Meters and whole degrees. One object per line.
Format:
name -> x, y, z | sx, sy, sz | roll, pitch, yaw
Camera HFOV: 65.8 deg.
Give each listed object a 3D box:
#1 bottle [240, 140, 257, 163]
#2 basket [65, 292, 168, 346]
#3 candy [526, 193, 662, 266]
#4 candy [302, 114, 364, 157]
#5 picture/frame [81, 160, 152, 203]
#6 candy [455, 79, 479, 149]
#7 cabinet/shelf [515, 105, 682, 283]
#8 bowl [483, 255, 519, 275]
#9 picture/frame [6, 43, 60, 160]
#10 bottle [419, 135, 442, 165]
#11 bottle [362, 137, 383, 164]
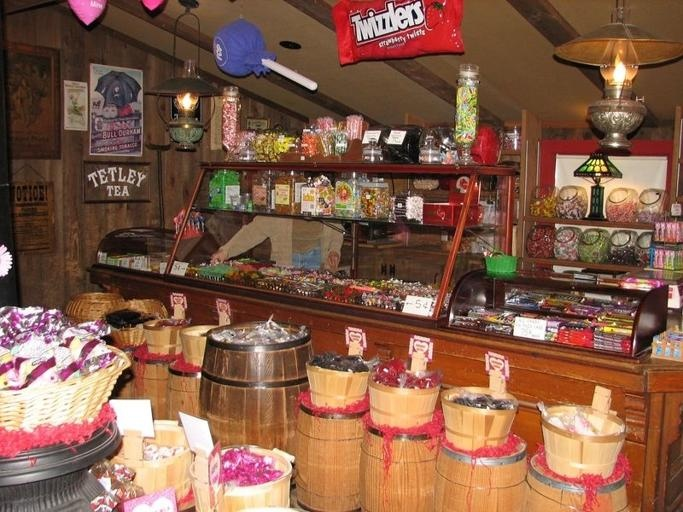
bottle -> -0.756, -0.839, 4.245 | 0.152, 0.152, 0.157 | 4, 6, 22
basket -> -1.933, 0.473, 4.459 | 0.775, 0.369, 0.753 | 6, 4, 22
candy -> 2.251, -0.126, 4.765 | 1.101, 0.516, 0.623 | 5, 4, 35
candy -> -0.048, -0.829, 3.748 | 0.369, 0.149, 0.375 | 5, 7, 34
picture/frame -> -2.615, -0.853, 6.139 | 0.713, 0.478, 0.134 | -1, 7, -31
candy -> 0.760, -0.869, 3.221 | 0.142, 0.398, 0.133 | 5, 7, 21
cabinet/shelf -> 2.320, -0.542, 4.719 | 1.541, 1.889, 0.665 | 2, 2, 25
bowl -> 1.000, 0.055, 3.300 | 0.150, 0.083, 0.118 | 1, -1, 3
picture/frame -> -3.194, -1.580, 5.489 | 0.482, 1.165, 0.067 | -3, 9, -44
bottle -> 0.563, -0.668, 3.357 | 0.171, 0.202, 0.176 | 1, 8, 6
bottle -> 0.217, -0.707, 3.531 | 0.150, 0.169, 0.148 | 4, 10, 19
